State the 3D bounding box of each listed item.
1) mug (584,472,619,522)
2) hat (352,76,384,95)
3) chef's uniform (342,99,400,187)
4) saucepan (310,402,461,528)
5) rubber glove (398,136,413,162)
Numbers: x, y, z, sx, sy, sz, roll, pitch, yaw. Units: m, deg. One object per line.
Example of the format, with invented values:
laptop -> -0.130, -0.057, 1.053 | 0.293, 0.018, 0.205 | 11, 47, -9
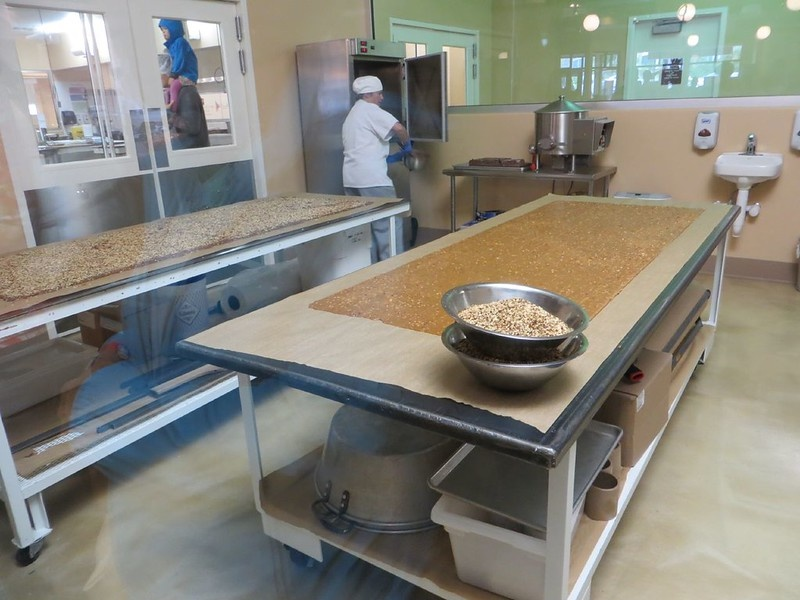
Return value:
mug -> 0.644, 0.649, 1.884 | 0.126, 0.140, 0.130 | -1, 13, 4
hat -> -0.269, -1.791, 4.681 | 0.209, 0.118, 0.151 | -7, 30, -13
chef's uniform -> -0.255, -1.316, 4.785 | 0.485, 0.719, 0.245 | -4, 21, -6
saucepan -> -0.036, 0.534, 1.749 | 0.417, 0.285, 0.234 | 4, 22, 17
rubber glove -> 0.057, -1.372, 5.067 | 0.077, 0.093, 0.232 | 14, 58, 18
